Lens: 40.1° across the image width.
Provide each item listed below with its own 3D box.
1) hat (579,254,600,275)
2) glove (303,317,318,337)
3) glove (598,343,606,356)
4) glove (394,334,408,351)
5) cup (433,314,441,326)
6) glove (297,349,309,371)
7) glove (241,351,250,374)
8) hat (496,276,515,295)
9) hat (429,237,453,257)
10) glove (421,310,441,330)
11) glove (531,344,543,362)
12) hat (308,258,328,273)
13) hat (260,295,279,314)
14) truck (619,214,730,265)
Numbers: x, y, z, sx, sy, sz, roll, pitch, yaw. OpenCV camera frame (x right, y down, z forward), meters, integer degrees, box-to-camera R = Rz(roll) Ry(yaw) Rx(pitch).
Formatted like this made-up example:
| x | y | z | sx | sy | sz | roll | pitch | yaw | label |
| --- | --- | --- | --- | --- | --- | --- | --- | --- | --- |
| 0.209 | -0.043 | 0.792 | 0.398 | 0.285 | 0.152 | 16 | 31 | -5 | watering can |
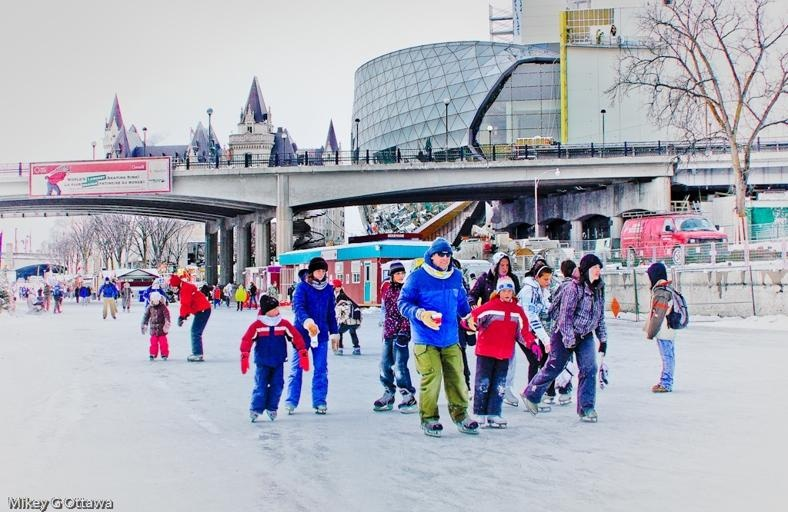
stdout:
| x | y | z | sx | sy | sz | roll | pitch | yaw | label |
| --- | --- | --- | --- | --- | --- | --- | --- | --- | --- |
| 4.443 | 0.174 | 24.617 | 0.433 | 0.424 | 0.443 | 1 | -15 | -19 | hat |
| -1.904 | 1.628 | 24.653 | 0.161 | 0.295 | 0.408 | -37 | 29 | 2 | glove |
| 4.784 | 2.138 | 24.922 | 0.179 | 0.289 | 0.133 | 8 | -3 | -33 | glove |
| 0.152 | 2.033 | 25.755 | 0.455 | 0.466 | 0.249 | 3 | -3 | -30 | glove |
| 0.954 | 1.390 | 23.671 | 0.119 | 0.182 | 0.242 | -1 | -1 | 39 | cup |
| -2.074 | 2.385 | 24.789 | 0.260 | 0.461 | 0.124 | -7 | -10 | 9 | glove |
| -3.462 | 2.442 | 24.900 | 0.160 | 0.478 | 0.701 | -1 | 0 | -11 | glove |
| 2.507 | 0.661 | 24.358 | 0.310 | 0.406 | 0.438 | 0 | -23 | -2 | hat |
| 1.035 | -0.182 | 23.935 | 0.341 | 0.312 | 0.460 | 1 | -4 | -5 | hat |
| 0.802 | 1.390 | 23.622 | 0.342 | 0.434 | 0.424 | -2 | 10 | -8 | glove |
| 3.285 | 2.241 | 25.029 | 0.133 | 0.410 | 0.297 | -22 | 15 | 1 | glove |
| -1.789 | 0.230 | 25.251 | 0.360 | 0.300 | 0.355 | 0 | -4 | -4 | hat |
| -2.865 | 1.107 | 24.875 | 0.436 | 0.464 | 0.367 | -1 | 1 | -6 | hat |
| 11.775 | -1.092 | 47.262 | 2.352 | 2.014 | 4.555 | 0 | -1 | -25 | truck |
